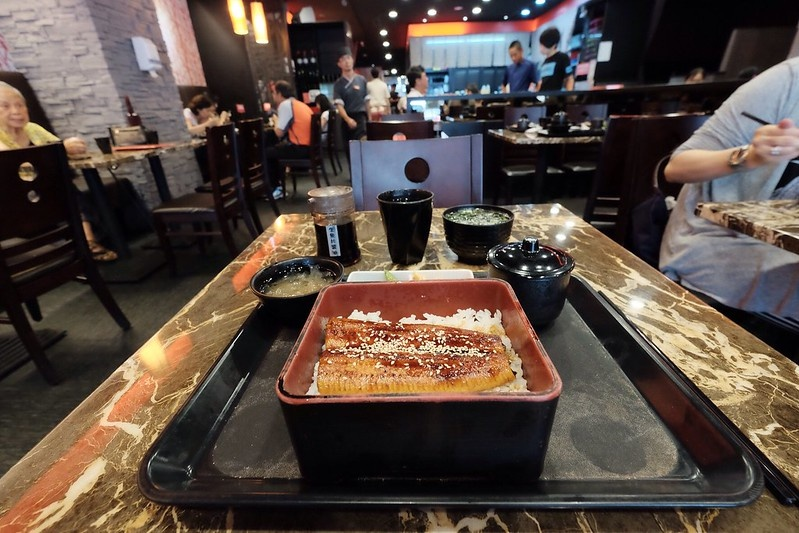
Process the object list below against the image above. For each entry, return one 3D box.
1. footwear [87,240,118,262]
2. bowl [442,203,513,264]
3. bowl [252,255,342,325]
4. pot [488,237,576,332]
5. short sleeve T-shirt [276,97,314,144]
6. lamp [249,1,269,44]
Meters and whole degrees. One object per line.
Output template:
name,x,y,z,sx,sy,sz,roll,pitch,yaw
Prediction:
footwear,-2.448,-0.136,4.071,0.341,0.083,0.136,25,34,37
bowl,0.323,-0.147,2.004,0.274,0.175,0.266,-1,19,0
bowl,-0.402,0.058,1.863,0.290,0.111,0.271,-1,28,1
pot,0.426,0.032,1.887,0.333,0.320,0.312,-2,20,1
short sleeve T-shirt,-1.211,-1.715,5.865,0.615,0.533,0.323,20,34,41
lamp,-1.913,-3.331,6.733,0.168,0.486,0.703,-9,25,-12
